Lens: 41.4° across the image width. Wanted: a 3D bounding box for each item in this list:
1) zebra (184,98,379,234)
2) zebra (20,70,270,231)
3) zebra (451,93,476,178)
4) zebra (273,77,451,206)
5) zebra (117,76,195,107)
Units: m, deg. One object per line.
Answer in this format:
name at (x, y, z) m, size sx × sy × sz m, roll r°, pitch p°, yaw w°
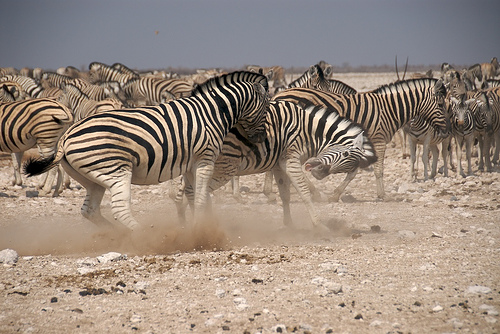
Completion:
zebra at (0.473, 0.025, 11.774) m, size 3.624 × 2.177 × 0.842 m, roll -3°, pitch 5°, yaw -18°
zebra at (-1.545, -0.192, 10.981) m, size 4.677 × 2.458 × 1.134 m, roll -9°, pitch 13°, yaw -34°
zebra at (5.355, -0.813, 16.531) m, size 0.674 × 2.084 × 2.702 m, roll 0°, pitch 5°, yaw 20°
zebra at (2.293, -0.639, 14.134) m, size 4.323 × 2.641 × 1.036 m, roll 1°, pitch -5°, yaw -8°
zebra at (-2.974, -2.193, 20.664) m, size 2.582 × 1.246 × 0.722 m, roll 4°, pitch 27°, yaw 18°
